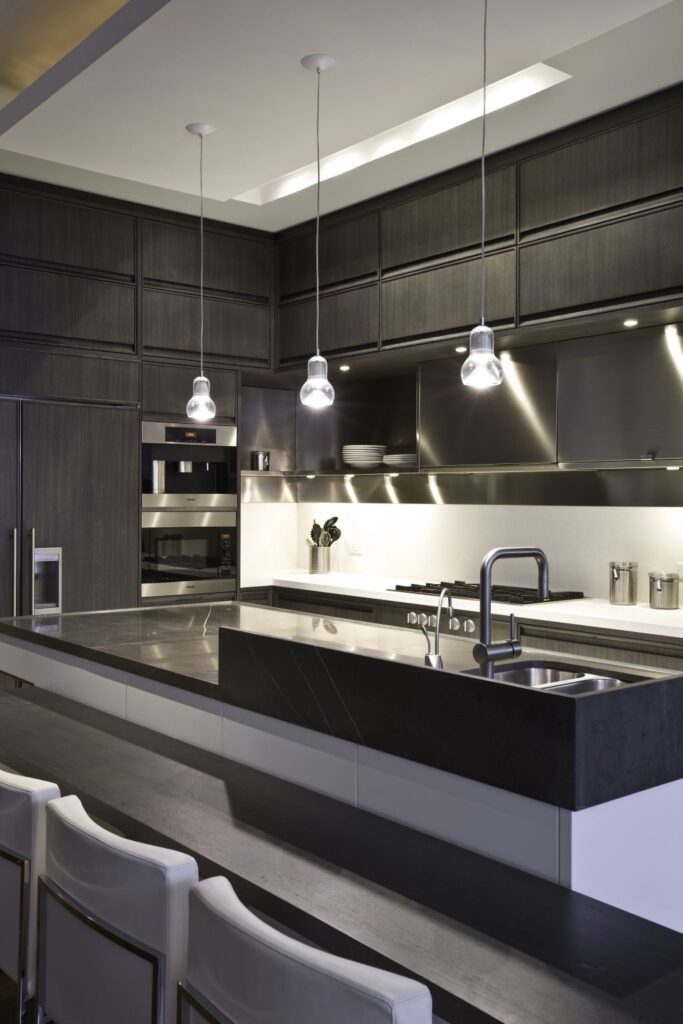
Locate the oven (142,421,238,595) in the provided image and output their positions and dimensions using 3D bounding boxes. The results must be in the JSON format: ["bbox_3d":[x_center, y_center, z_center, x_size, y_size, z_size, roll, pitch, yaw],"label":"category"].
[{"bbox_3d":[-0.893,0.058,4.655,0.517,1.149,0.395,0,-20,-12],"label":"oven"}]

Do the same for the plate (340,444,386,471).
[{"bbox_3d":[0.126,-0.306,4.806,0.164,0.105,0.174,0,1,-31],"label":"plate"}]
